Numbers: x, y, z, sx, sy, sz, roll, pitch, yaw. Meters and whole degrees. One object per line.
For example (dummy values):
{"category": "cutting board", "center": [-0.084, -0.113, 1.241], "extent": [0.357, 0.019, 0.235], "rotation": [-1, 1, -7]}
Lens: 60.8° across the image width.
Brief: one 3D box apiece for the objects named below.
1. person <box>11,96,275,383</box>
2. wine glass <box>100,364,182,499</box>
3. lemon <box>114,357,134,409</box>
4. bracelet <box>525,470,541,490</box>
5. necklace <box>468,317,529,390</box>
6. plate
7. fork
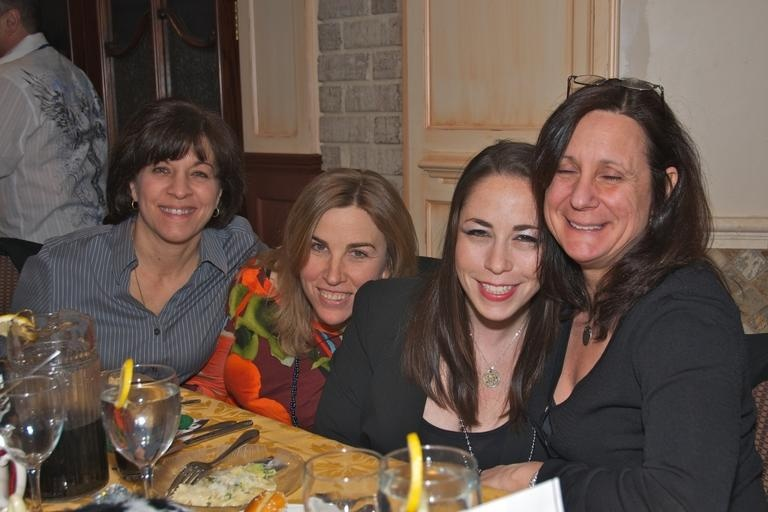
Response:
{"category": "person", "center": [-0.950, -0.097, 2.828], "extent": [1.150, 1.126, 0.578], "rotation": [3, 10, -33]}
{"category": "wine glass", "center": [-0.616, 0.419, 1.646], "extent": [0.177, 0.360, 0.245], "rotation": [-2, 4, -24]}
{"category": "lemon", "center": [-0.639, 0.295, 1.598], "extent": [0.041, 0.109, 0.181], "rotation": [-2, 4, -20]}
{"category": "bracelet", "center": [0.430, 0.639, 1.881], "extent": [0.025, 0.034, 0.053], "rotation": [0, 4, 15]}
{"category": "necklace", "center": [0.399, 0.337, 2.252], "extent": [0.247, 0.300, 0.027], "rotation": [2, -8, 8]}
{"category": "plate", "center": [-0.377, 0.555, 1.715], "extent": [0.245, 0.043, 0.250], "rotation": [-1, 10, -2]}
{"category": "fork", "center": [-0.454, 0.547, 1.793], "extent": [0.065, 0.051, 0.339], "rotation": [19, 14, 19]}
